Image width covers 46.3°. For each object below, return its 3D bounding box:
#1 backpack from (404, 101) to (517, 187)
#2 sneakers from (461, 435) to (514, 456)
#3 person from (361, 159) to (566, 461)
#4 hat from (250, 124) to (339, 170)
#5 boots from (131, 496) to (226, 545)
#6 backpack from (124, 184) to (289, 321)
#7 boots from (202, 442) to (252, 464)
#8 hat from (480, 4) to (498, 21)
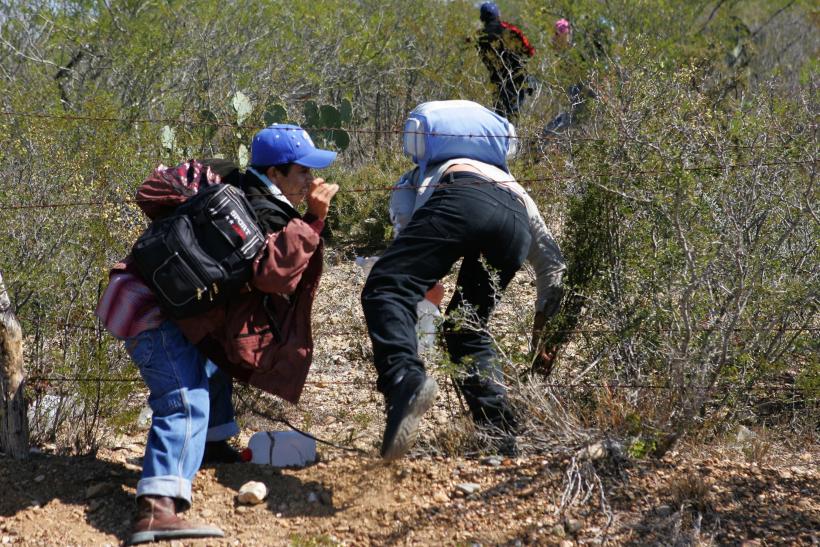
[{"bbox_3d":[0.324,-0.923,6.702,0.625,0.408,0.510,-6,17,-15],"label":"backpack"},{"bbox_3d":[0.533,1.177,6.464,0.204,0.095,0.184,-3,0,-42],"label":"sneakers"},{"bbox_3d":[0.347,0.225,6.449,1.324,1.916,0.803,2,12,-42],"label":"person"},{"bbox_3d":[-0.816,-0.830,6.538,0.459,0.265,0.302,5,12,-13],"label":"hat"},{"bbox_3d":[-1.501,1.562,6.106,0.647,0.411,0.256,-1,-9,-13],"label":"boots"},{"bbox_3d":[-1.285,-0.114,6.050,0.599,0.478,0.340,-30,29,-5],"label":"backpack"},{"bbox_3d":[-1.287,1.234,6.651,0.240,0.114,0.161,3,-2,-23],"label":"boots"},{"bbox_3d":[0.900,-2.956,10.851,0.265,0.157,0.382,3,18,5],"label":"hat"}]
